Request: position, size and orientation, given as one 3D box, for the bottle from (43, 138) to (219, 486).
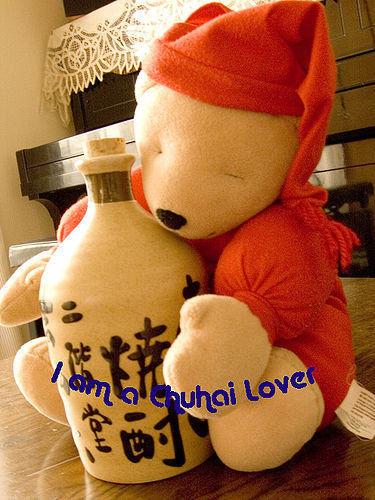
[{"bbox_3d":[-0.062,0.052,0.354,0.161,0.253,0.101,-11,-1,10],"label":"bottle"}]
